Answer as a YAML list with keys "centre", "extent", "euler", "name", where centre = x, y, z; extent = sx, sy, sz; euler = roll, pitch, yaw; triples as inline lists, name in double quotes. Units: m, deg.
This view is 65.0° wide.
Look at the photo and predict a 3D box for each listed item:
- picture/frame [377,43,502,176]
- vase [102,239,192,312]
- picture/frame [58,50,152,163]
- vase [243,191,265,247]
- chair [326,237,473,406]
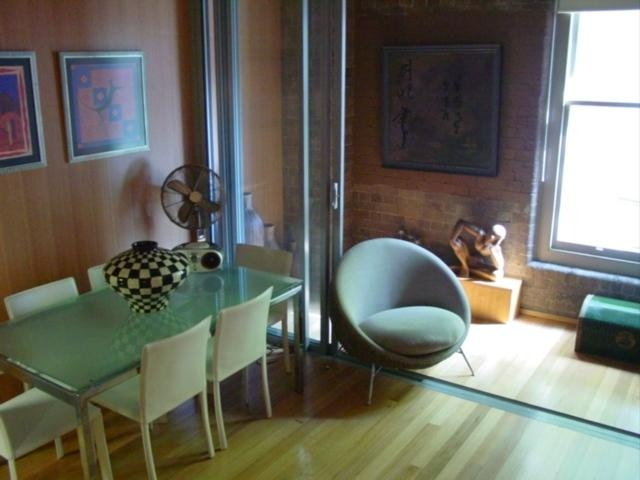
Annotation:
- centre: [1.116, -1.224, 4.703]
  extent: [1.132, 1.210, 0.082]
  euler: [1, 4, 1]
  name: "picture/frame"
- centre: [-1.060, 0.213, 3.059]
  extent: [0.529, 0.397, 0.517]
  euler: [-8, 16, -40]
  name: "vase"
- centre: [-1.519, -0.938, 3.478]
  extent: [0.057, 0.814, 0.747]
  euler: [7, 15, 36]
  name: "picture/frame"
- centre: [-0.546, -0.098, 4.142]
  extent: [0.181, 0.123, 0.547]
  euler: [-5, 54, -8]
  name: "vase"
- centre: [0.601, 0.516, 3.639]
  extent: [1.057, 0.856, 0.905]
  euler: [-11, 20, -28]
  name: "chair"
